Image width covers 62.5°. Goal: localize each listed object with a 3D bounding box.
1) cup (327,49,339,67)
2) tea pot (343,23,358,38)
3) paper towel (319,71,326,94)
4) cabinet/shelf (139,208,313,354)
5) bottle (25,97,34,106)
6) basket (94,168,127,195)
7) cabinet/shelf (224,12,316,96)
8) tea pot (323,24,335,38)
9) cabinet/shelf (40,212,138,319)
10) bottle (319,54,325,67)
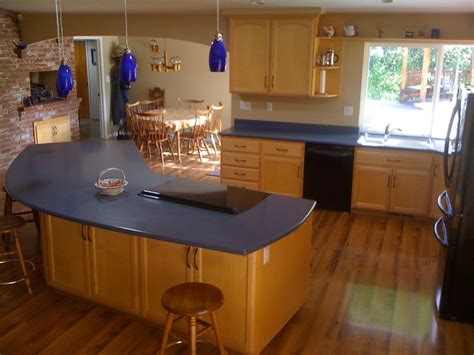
[{"bbox_3d":[1.302,-1.656,5.367,0.145,0.231,0.205,10,20,30],"label":"cup"},{"bbox_3d":[1.544,-1.988,5.271,0.189,0.167,0.154,4,18,15],"label":"tea pot"},{"bbox_3d":[1.204,-1.338,5.458,0.095,0.337,0.223,3,17,12],"label":"paper towel"},{"bbox_3d":[0.033,0.811,3.318,1.114,0.877,1.132,7,16,29],"label":"cabinet/shelf"},{"bbox_3d":[-3.656,-1.335,6.860,0.094,0.168,0.048,-1,-7,-18],"label":"bottle"},{"bbox_3d":[-1.102,0.067,3.413,0.289,0.223,0.276,-8,31,-19],"label":"basket"},{"bbox_3d":[0.506,-1.722,5.366,1.271,1.160,0.496,3,16,13],"label":"cabinet/shelf"},{"bbox_3d":[1.245,-1.980,5.242,0.186,0.196,0.128,3,11,13],"label":"tea pot"},{"bbox_3d":[-1.205,0.729,3.245,0.751,0.670,0.443,8,16,21],"label":"cabinet/shelf"},{"bbox_3d":[1.182,-1.617,5.376,0.095,0.151,0.192,3,17,12],"label":"bottle"}]
